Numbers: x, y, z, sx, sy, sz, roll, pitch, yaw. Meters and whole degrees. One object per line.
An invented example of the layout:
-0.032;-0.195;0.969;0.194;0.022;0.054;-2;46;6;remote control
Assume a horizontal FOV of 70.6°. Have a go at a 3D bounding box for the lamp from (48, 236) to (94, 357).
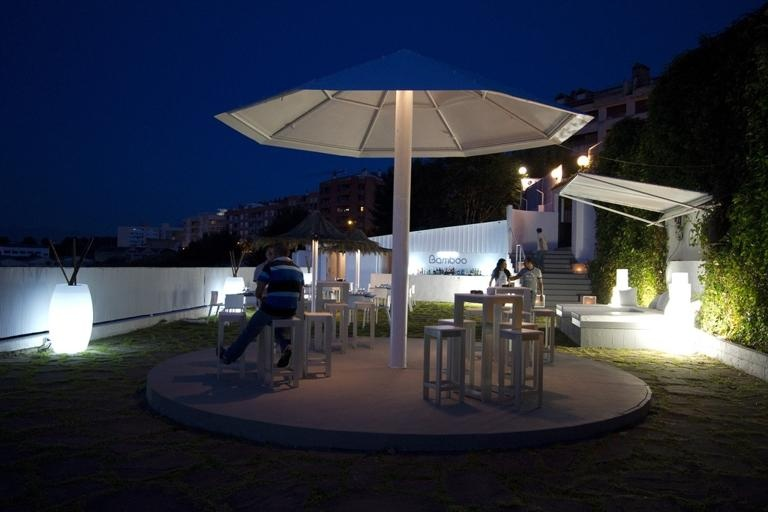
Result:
-6.447;0.757;11.055;0.889;2.285;1.097;-4;8;-31;lamp
